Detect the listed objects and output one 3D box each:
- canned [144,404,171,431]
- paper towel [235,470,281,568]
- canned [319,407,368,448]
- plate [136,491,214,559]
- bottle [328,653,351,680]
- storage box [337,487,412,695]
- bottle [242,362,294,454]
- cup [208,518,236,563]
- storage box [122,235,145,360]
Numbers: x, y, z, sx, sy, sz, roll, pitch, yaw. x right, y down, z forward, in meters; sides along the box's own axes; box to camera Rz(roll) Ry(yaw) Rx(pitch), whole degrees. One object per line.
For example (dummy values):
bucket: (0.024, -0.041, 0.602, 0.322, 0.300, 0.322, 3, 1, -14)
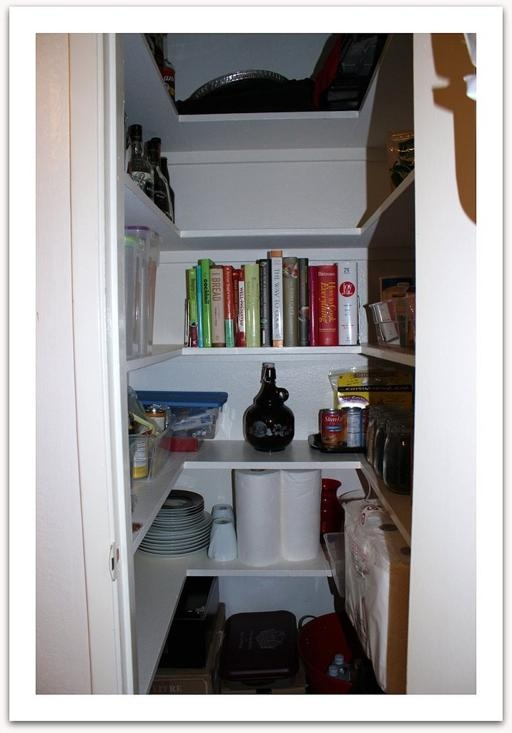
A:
canned: (-0.241, 0.118, 1.357, 0.055, 0.103, 0.064, 0, 4, -2)
paper towel: (-0.001, 0.445, 1.653, 0.153, 0.179, 0.311, 2, 44, -1)
canned: (0.255, 0.173, 1.614, 0.135, 0.116, 0.158, -1, 4, 6)
plate: (-0.234, 0.449, 1.596, 0.164, 0.078, 0.182, 0, 5, -3)
bottle: (0.225, 0.816, 1.470, 0.048, 0.096, 0.049, 0, 11, 0)
storage box: (0.285, 0.455, 1.145, 0.156, 0.244, 0.322, 2, 4, -6)
bottle: (0.036, 0.129, 1.609, 0.138, 0.264, 0.140, 0, -6, 0)
cup: (-0.097, 0.509, 1.623, 0.079, 0.101, 0.094, 1, -7, 0)
storage box: (-0.213, -0.122, 0.956, 0.029, 0.206, 0.108, -2, 3, -10)
